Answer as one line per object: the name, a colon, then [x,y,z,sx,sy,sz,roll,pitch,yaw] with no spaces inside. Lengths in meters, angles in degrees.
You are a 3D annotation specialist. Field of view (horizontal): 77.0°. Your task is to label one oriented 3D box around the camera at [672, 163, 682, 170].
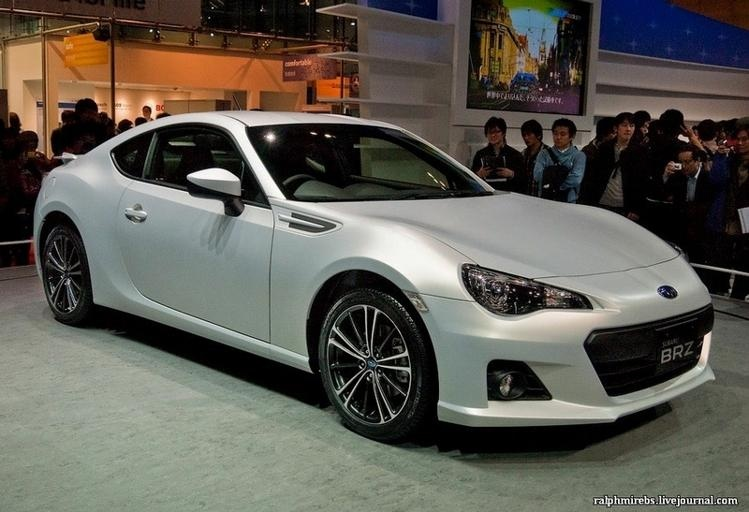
camera: [4.198,-1.256,6.578,0.069,0.092,0.090,-17,32,-41]
